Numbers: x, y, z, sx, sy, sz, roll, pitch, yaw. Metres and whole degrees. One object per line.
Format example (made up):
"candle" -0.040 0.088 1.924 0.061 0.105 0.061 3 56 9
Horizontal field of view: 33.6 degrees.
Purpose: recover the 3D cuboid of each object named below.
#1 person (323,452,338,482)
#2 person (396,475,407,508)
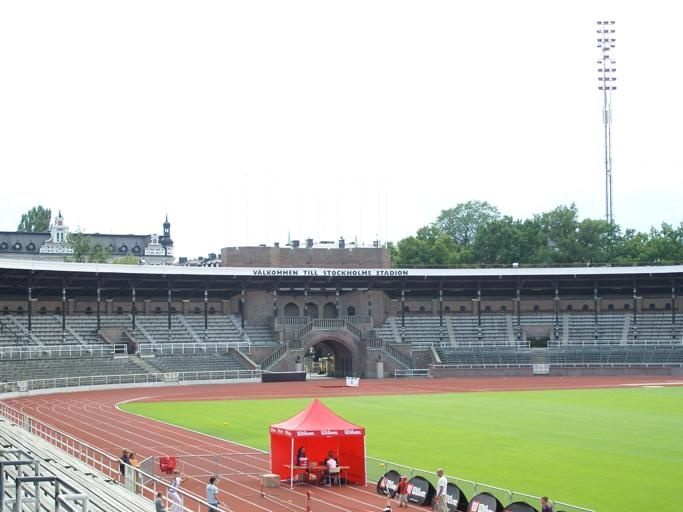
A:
"person" -0.495 11.422 60.816 0.796 1.591 1.008 2 5 0
"person" 3.174 11.923 57.682 0.515 1.636 1.150 2 5 4
